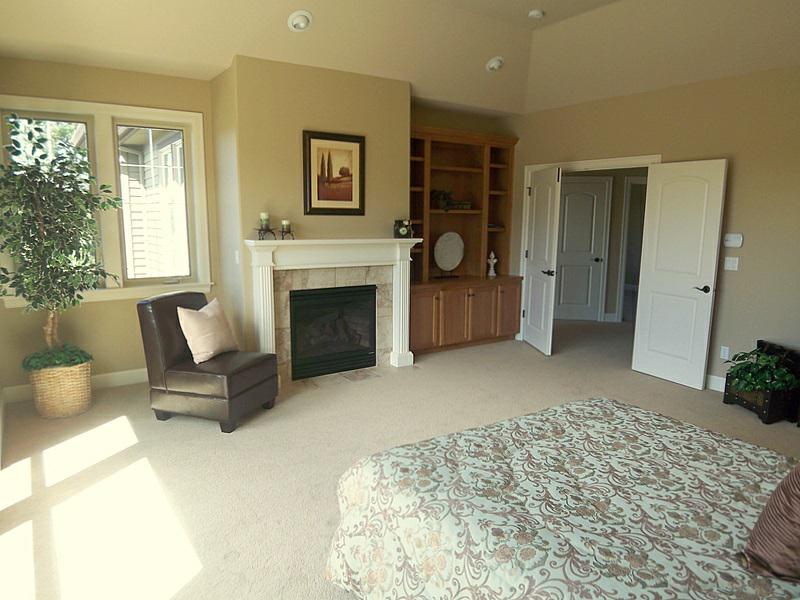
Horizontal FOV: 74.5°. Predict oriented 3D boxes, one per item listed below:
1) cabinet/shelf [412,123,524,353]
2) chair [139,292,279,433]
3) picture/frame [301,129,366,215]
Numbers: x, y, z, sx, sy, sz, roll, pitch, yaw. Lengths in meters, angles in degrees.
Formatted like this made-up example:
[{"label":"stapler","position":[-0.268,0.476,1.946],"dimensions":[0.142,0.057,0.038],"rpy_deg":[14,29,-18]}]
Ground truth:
[{"label":"cabinet/shelf","position":[0.767,-0.749,6.772],"dimensions":[1.834,2.677,0.703],"rpy_deg":[-7,13,-32]},{"label":"chair","position":[-1.740,0.475,4.916],"dimensions":[1.260,1.337,0.968],"rpy_deg":[3,10,16]},{"label":"picture/frame","position":[-0.705,-1.314,5.358],"dimensions":[0.923,0.987,0.087],"rpy_deg":[-3,7,-35]}]
